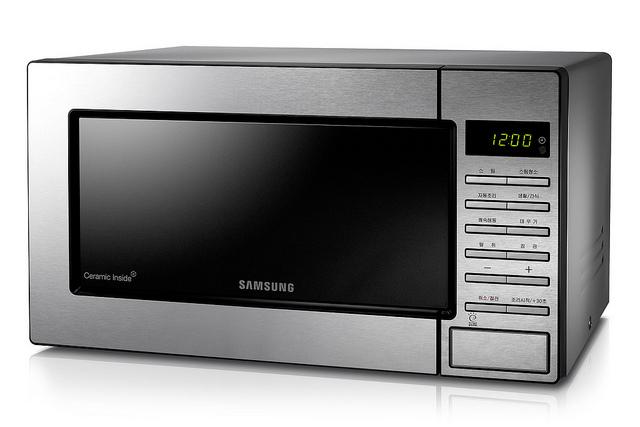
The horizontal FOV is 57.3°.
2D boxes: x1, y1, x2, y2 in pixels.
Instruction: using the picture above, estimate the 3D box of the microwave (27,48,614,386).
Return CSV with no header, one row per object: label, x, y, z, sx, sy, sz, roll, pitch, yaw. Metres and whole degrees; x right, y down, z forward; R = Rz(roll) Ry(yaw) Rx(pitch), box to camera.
microwave,-0.062,0.041,1.215,0.960,0.590,0.409,6,-93,-7
